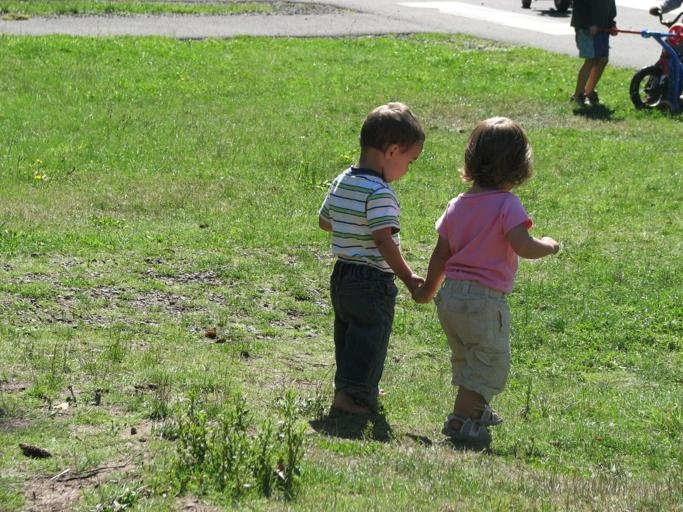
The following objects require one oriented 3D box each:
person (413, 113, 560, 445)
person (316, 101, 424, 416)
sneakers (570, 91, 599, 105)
[{"bbox_3d":[1.715,0.293,16.954,1.272,3.908,0.667,7,10,8],"label":"person"},{"bbox_3d":[0.331,0.022,17.250,1.089,3.779,0.682,6,10,1],"label":"person"},{"bbox_3d":[4.754,-3.029,26.752,0.194,0.282,0.579,0,9,-8],"label":"sneakers"}]
